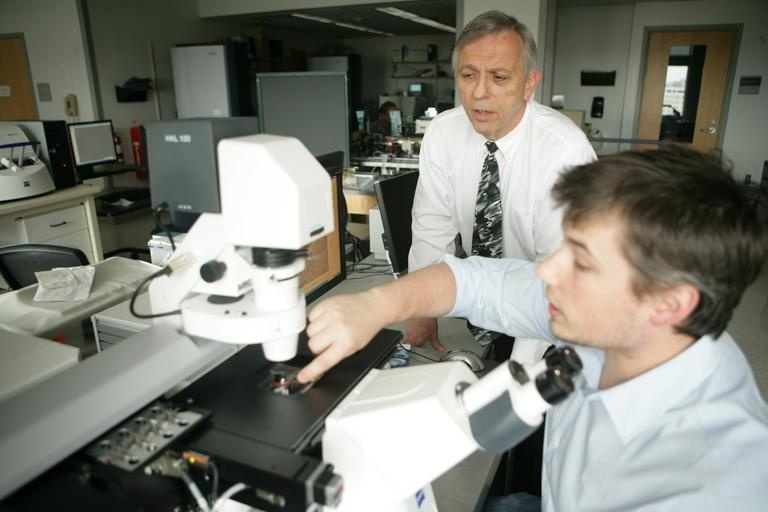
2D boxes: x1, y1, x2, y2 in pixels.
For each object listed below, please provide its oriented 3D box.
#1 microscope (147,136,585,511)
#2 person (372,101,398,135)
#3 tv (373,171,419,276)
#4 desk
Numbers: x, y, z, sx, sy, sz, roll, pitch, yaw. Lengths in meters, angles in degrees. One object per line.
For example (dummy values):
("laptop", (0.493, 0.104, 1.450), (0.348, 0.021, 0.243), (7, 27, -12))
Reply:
("microscope", (-0.133, 0.131, 1.426), (0.673, 0.842, 1.119), (4, 19, 7))
("person", (0.004, -1.821, 7.041), (0.278, 0.404, 0.838), (-1, 20, -3))
("tv", (0.061, -0.143, 2.512), (0.162, 0.584, 0.398), (-9, 17, 6))
("desk", (-2.802, -0.756, 5.573), (0.943, 0.380, 0.731), (24, 33, 38))
